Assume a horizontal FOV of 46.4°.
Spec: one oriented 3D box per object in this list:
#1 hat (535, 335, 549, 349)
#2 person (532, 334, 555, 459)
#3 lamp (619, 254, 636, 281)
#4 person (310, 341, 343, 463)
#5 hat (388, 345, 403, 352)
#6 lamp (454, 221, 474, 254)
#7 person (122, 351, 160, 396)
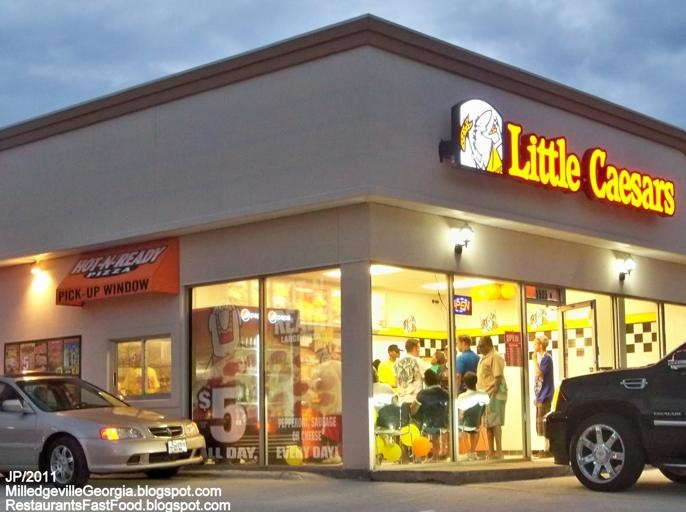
[{"bbox_3d":[4.090,1.772,16.642,0.251,0.335,0.319,5,-14,-15],"label":"hat"},{"bbox_3d":[4.098,2.707,16.392,0.374,2.201,1.091,0,1,18],"label":"person"},{"bbox_3d":[6.489,0.263,18.275,0.219,0.590,0.704,0,1,39],"label":"lamp"},{"bbox_3d":[-0.293,2.607,14.221,0.211,2.052,0.700,-1,1,-42],"label":"person"},{"bbox_3d":[0.899,1.617,14.248,0.160,0.096,0.128,-6,-6,16],"label":"hat"},{"bbox_3d":[2.249,-0.347,15.037,0.337,0.497,0.232,-21,-25,40],"label":"lamp"},{"bbox_3d":[-4.288,2.516,16.873,0.202,0.914,1.322,-1,1,-44],"label":"person"}]
